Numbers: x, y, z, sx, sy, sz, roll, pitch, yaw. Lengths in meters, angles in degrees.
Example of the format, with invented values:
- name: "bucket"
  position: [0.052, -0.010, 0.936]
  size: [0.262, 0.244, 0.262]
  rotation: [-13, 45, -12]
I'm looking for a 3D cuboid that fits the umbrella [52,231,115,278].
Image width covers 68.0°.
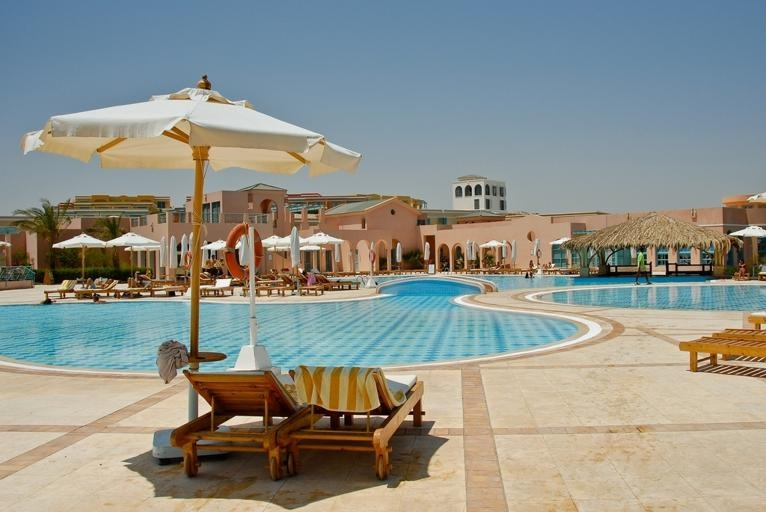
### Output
- name: "umbrella"
  position: [-21.350, 0.034, 40.191]
  size: [4.607, 3.106, 3.969]
  rotation: [0, -3, -6]

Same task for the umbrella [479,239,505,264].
- name: "umbrella"
  position: [9.343, -0.503, 48.670]
  size: [2.517, 1.642, 2.162]
  rotation: [0, -3, -6]

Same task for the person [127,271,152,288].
- name: "person"
  position: [-13.861, 1.302, 31.962]
  size: [1.227, 0.634, 1.577]
  rotation: [-1, 2, 30]

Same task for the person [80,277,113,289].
- name: "person"
  position: [-14.241, 1.351, 28.592]
  size: [1.297, 0.411, 1.605]
  rotation: [-1, -3, 16]

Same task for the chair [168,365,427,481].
- name: "chair"
  position: [-0.970, 1.760, 6.413]
  size: [2.696, 1.056, 1.435]
  rotation: [-2, 0, -3]

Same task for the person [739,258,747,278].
- name: "person"
  position: [21.108, 0.891, 33.328]
  size: [0.413, 1.084, 0.988]
  rotation: [-3, -1, 31]
